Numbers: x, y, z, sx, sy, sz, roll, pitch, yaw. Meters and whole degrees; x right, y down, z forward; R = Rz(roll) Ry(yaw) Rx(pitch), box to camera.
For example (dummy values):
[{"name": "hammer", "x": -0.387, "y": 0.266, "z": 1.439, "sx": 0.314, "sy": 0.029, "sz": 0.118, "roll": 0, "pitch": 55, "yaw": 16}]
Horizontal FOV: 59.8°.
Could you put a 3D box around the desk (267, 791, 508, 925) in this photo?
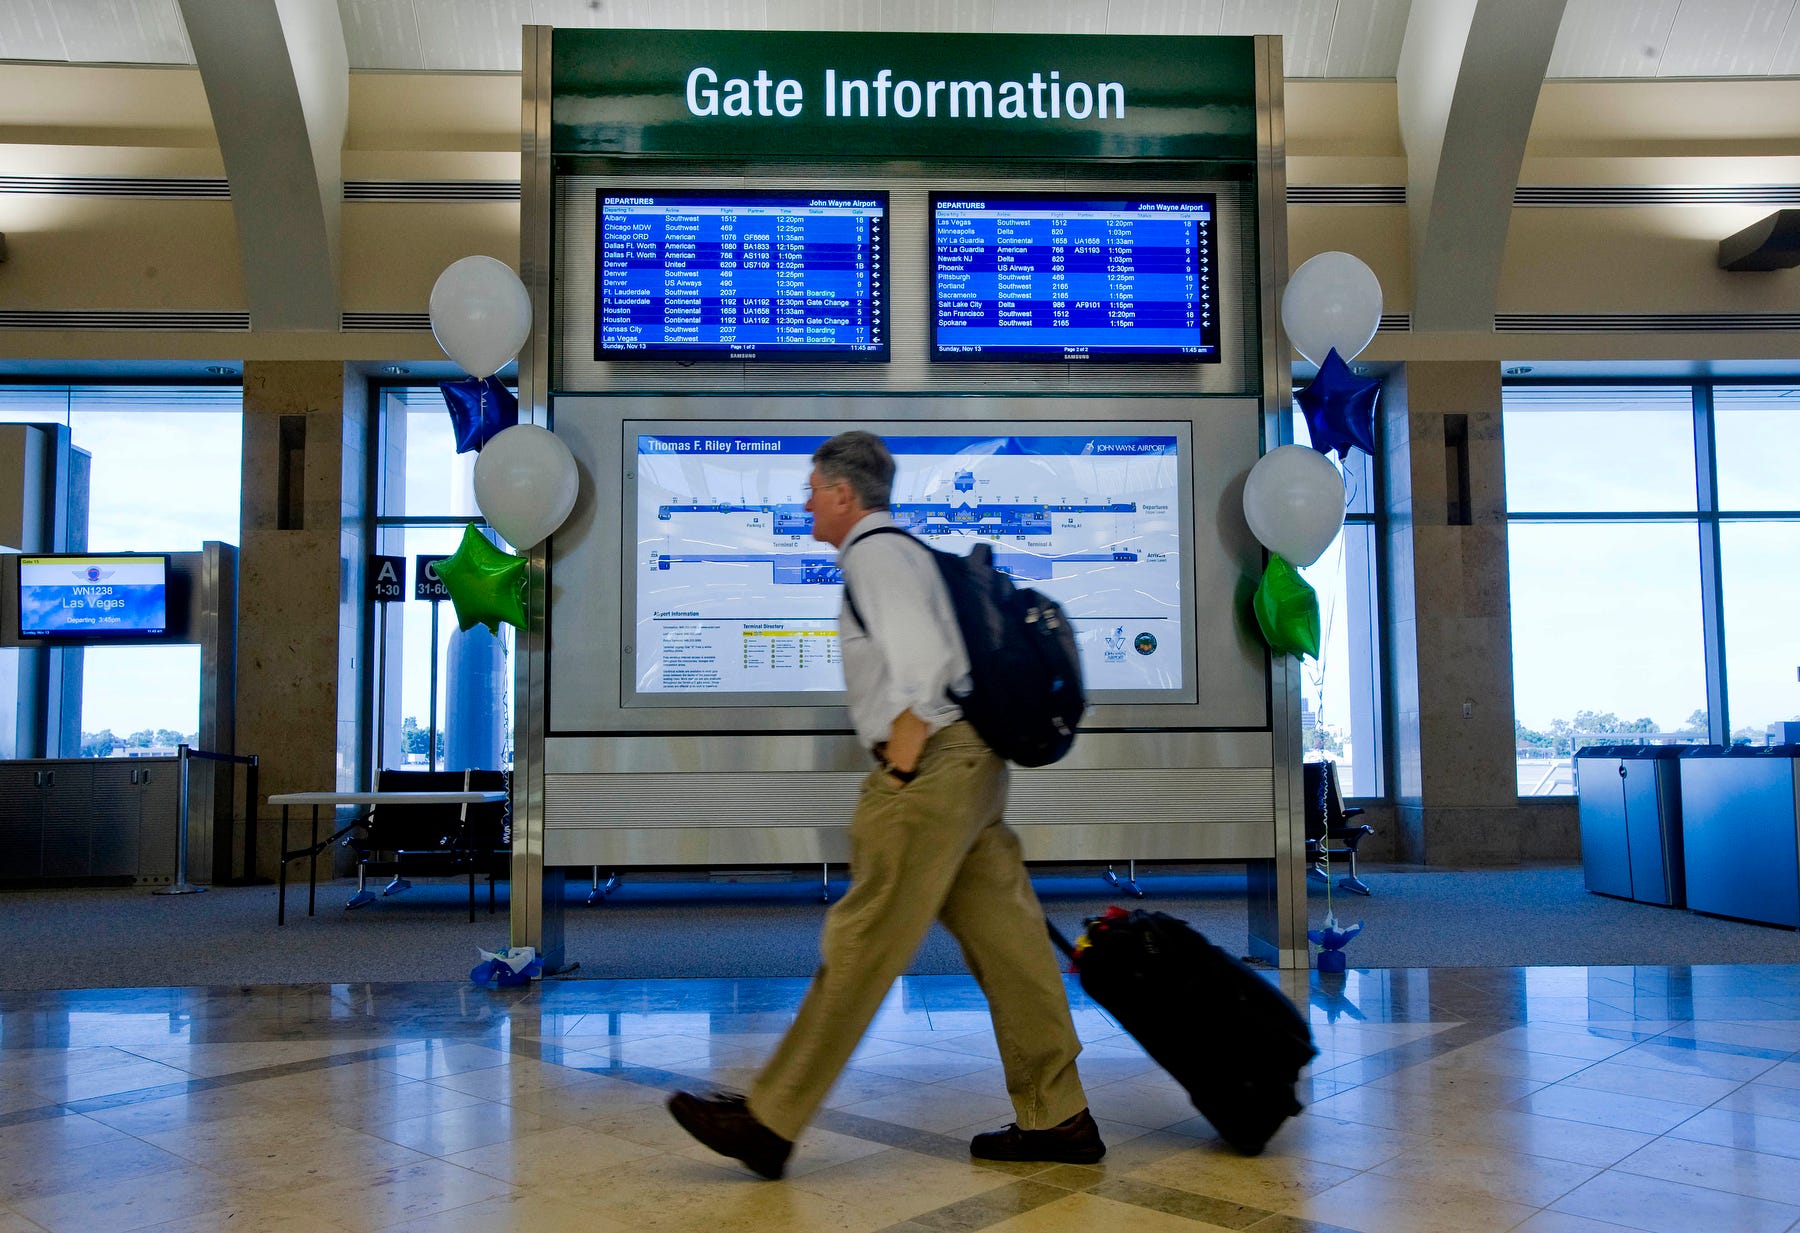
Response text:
[{"name": "desk", "x": -3.827, "y": 1.797, "z": 11.780, "sx": 1.576, "sy": 0.812, "sz": 0.830, "roll": 0, "pitch": -10, "yaw": -1}]

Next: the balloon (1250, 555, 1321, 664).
[{"name": "balloon", "x": 2.010, "y": -0.038, "z": 8.230, "sx": 0.247, "sy": 0.446, "sz": 0.350, "roll": -31, "pitch": 52, "yaw": -15}]

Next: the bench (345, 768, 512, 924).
[{"name": "bench", "x": -3.456, "y": 1.595, "z": 11.666, "sx": 1.096, "sy": 0.904, "sz": 0.819, "roll": 0, "pitch": -3, "yaw": -2}]

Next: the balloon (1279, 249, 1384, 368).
[{"name": "balloon", "x": 2.281, "y": -1.654, "z": 8.336, "sx": 0.484, "sy": 0.597, "sz": 0.265, "roll": 0, "pitch": 2, "yaw": 11}]

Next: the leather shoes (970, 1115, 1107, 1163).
[{"name": "leather shoes", "x": 0.546, "y": 1.984, "z": 6.009, "sx": 0.550, "sy": 0.192, "sz": 0.187, "roll": 2, "pitch": -11, "yaw": 8}]

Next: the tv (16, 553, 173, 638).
[{"name": "tv", "x": -6.759, "y": -0.181, "z": 13.099, "sx": 1.247, "sy": 0.702, "sz": 0.284, "roll": 0, "pitch": 2, "yaw": 11}]

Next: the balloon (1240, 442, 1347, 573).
[{"name": "balloon", "x": 2.016, "y": -0.582, "z": 8.010, "sx": 0.606, "sy": 0.682, "sz": 0.597, "roll": -4, "pitch": -1, "yaw": -6}]

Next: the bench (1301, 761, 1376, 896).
[{"name": "bench", "x": 3.422, "y": 1.581, "z": 12.009, "sx": 0.603, "sy": 0.782, "sz": 0.560, "roll": 15, "pitch": 5, "yaw": 15}]

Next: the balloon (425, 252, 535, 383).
[{"name": "balloon", "x": -2.201, "y": -1.595, "z": 8.259, "sx": 0.505, "sy": 0.655, "sz": 0.258, "roll": -1, "pitch": 2, "yaw": -12}]

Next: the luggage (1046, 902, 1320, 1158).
[{"name": "luggage", "x": 1.201, "y": 1.480, "z": 6.259, "sx": 0.676, "sy": 1.131, "sz": 0.416, "roll": -50, "pitch": -6, "yaw": 21}]
